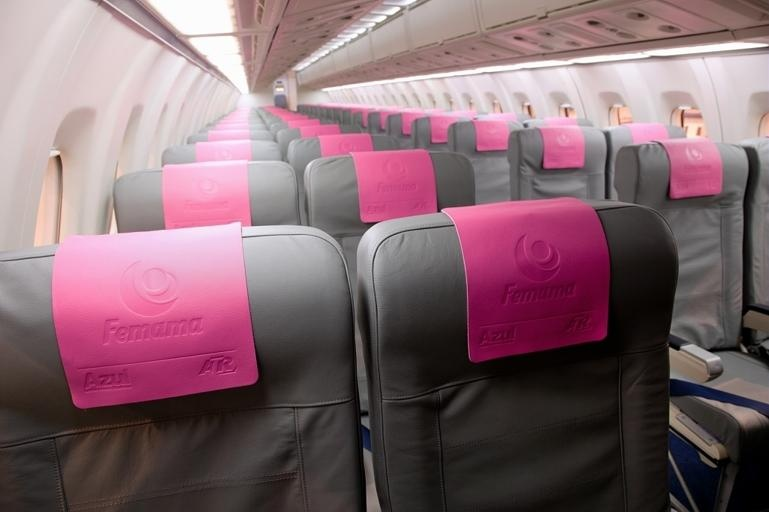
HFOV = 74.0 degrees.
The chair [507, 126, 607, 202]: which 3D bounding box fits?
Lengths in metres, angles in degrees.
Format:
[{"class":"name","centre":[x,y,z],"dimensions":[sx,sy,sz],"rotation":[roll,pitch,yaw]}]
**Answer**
[{"class":"chair","centre":[1.313,-0.681,3.876],"dimensions":[0.788,0.551,0.268],"rotation":[-8,4,-10]}]
